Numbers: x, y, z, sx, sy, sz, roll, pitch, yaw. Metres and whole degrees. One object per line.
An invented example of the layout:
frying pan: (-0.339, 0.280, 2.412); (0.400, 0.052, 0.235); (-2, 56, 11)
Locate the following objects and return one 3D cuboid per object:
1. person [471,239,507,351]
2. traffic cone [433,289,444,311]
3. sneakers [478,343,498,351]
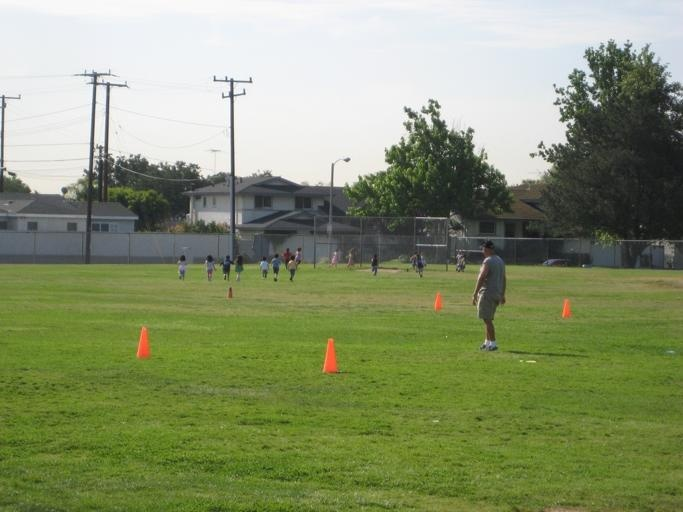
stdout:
person: (3.123, 0.831, 25.526); (0.611, 2.227, 0.847); (2, 10, 7)
traffic cone: (2.971, 1.383, 36.763); (0.388, 0.635, 0.460); (2, 4, 17)
sneakers: (3.097, 1.930, 25.375); (0.376, 0.173, 0.141); (2, 2, 17)
